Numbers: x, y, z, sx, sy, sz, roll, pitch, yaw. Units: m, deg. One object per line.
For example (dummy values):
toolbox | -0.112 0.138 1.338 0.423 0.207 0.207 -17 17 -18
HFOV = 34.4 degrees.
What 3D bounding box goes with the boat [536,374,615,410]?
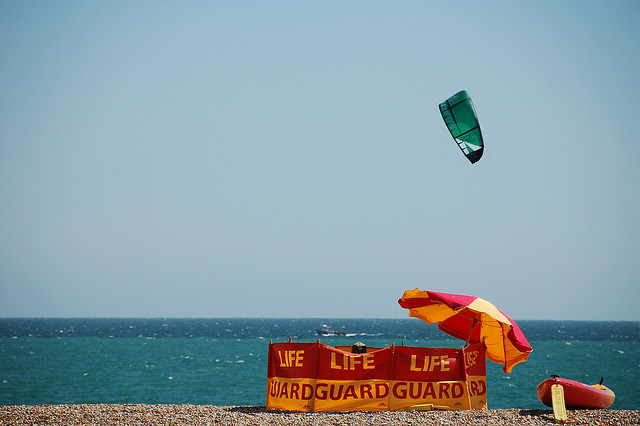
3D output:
boat | 25.081 17.210 103.046 4.919 4.195 9.247 -6 2 -4
